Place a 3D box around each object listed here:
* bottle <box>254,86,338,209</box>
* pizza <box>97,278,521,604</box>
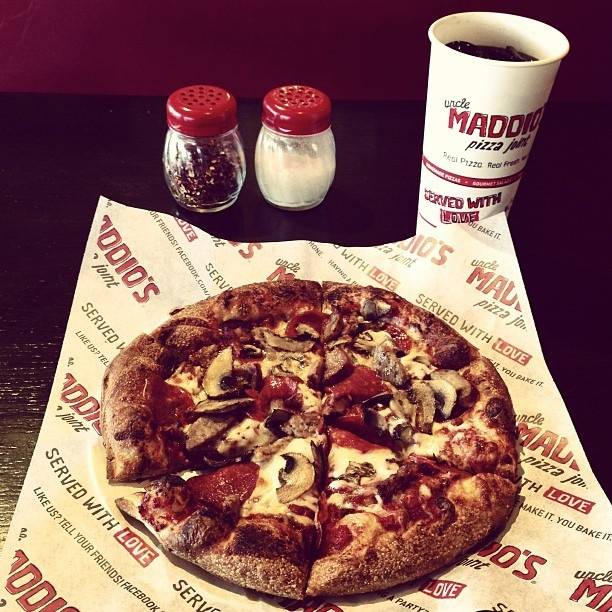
[{"bbox_3d":[-0.042,-0.591,2.625,0.309,0.464,0.287,-1,56,2],"label":"bottle"},{"bbox_3d":[0.016,0.299,1.888,1.104,0.165,0.994,-20,54,-13],"label":"pizza"}]
